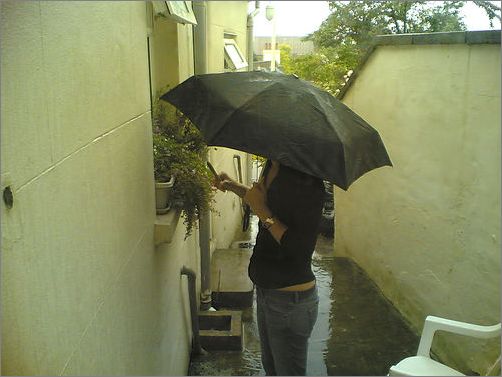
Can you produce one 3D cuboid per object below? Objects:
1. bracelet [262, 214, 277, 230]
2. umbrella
[{"bbox_3d":[0.099,0.187,2.553,0.054,0.082,0.041,12,15,-10],"label":"bracelet"},{"bbox_3d":[0.144,-0.362,2.621,1.271,0.585,0.609,4,12,17],"label":"umbrella"}]
